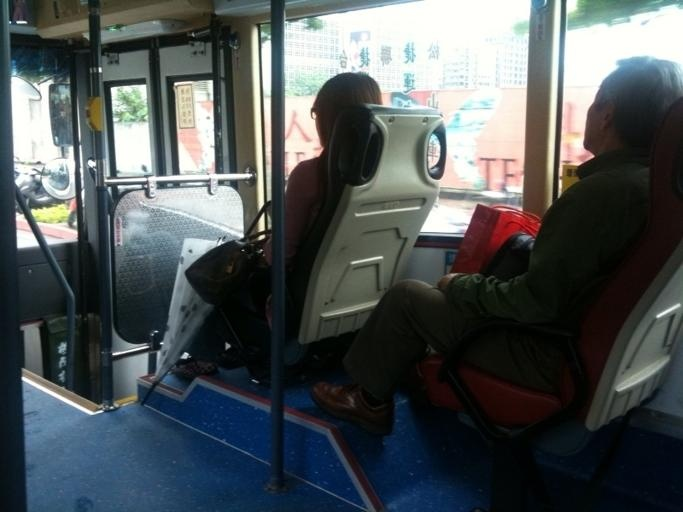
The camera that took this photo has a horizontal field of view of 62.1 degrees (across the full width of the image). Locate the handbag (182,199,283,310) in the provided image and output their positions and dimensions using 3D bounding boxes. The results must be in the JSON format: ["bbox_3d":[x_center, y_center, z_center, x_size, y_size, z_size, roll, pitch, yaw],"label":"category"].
[{"bbox_3d":[-0.596,-0.004,2.971,0.269,0.192,0.706,34,55,9],"label":"handbag"}]

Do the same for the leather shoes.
[{"bbox_3d":[0.050,0.649,2.521,0.396,0.176,0.144,20,1,36],"label":"leather shoes"}]

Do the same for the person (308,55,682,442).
[{"bbox_3d":[0.538,0.074,2.037,1.076,1.494,0.481,7,17,21],"label":"person"}]

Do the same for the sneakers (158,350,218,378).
[{"bbox_3d":[-0.812,0.614,3.125,0.377,0.156,0.120,2,29,18],"label":"sneakers"}]
